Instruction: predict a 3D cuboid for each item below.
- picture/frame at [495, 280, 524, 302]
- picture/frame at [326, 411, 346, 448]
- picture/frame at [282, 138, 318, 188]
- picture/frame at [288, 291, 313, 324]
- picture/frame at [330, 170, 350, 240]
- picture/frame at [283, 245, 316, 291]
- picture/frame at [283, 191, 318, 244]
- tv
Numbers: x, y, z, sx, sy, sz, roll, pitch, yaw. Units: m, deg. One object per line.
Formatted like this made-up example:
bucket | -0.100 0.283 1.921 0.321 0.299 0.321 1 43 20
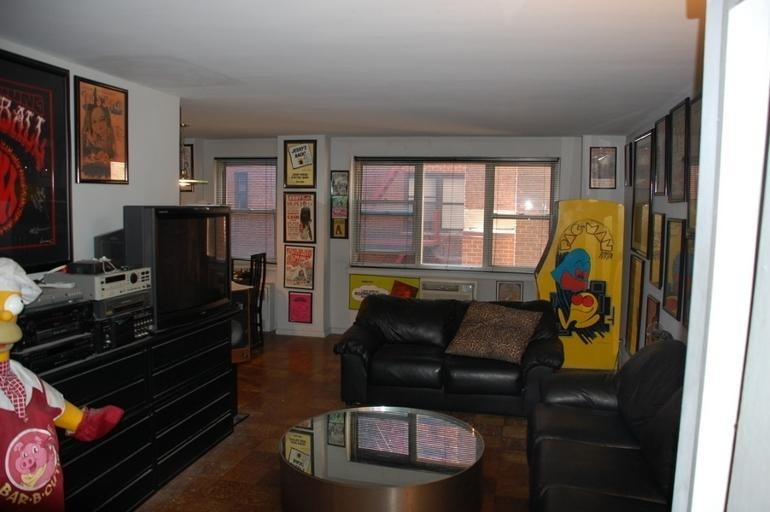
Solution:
picture/frame | 1.619 0.451 6.907 0.277 0.278 0.031 1 7 3
picture/frame | -0.333 1.165 3.642 0.008 0.233 0.185 -18 -29 30
picture/frame | -1.101 -1.241 7.041 0.686 0.843 0.066 1 5 6
picture/frame | -1.127 0.681 7.244 0.455 0.524 0.058 2 7 16
picture/frame | -0.609 -0.696 7.220 0.276 0.901 0.079 0 7 0
picture/frame | -1.134 0.147 7.194 0.647 0.801 0.035 1 0 13
picture/frame | -1.112 -0.527 7.149 0.726 0.976 0.040 2 4 23
tv | -1.601 0.004 3.937 0.707 0.707 0.767 8 15 35
